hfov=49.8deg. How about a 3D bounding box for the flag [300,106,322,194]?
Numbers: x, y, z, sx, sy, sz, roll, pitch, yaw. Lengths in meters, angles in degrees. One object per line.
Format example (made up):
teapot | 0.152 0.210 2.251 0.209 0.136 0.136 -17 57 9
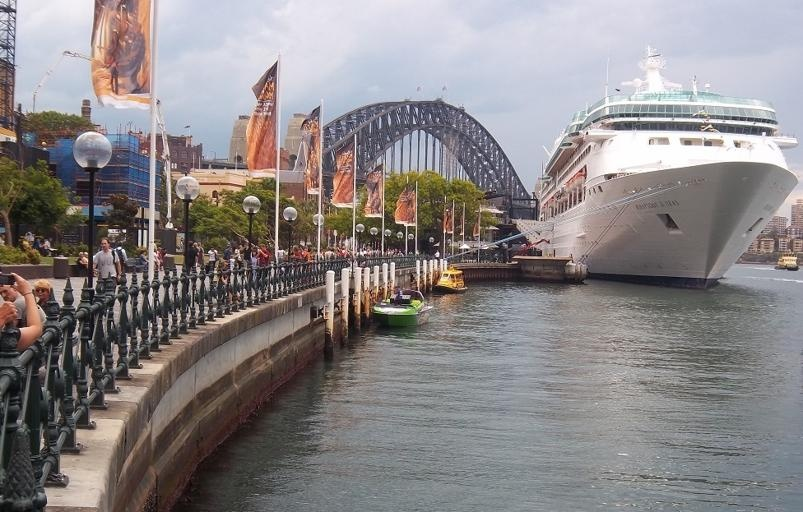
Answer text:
flag | -4.815 -5.810 46.808 1.027 4.737 2.126 2 6 -5

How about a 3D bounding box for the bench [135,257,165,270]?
bench | -12.187 0.352 41.881 1.382 0.384 0.815 3 -1 3

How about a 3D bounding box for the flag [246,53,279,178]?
flag | -6.142 -6.440 38.952 1.296 5.043 4.164 2 6 -8

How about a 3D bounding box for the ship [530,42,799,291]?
ship | 29.863 -6.676 88.373 17.304 20.645 51.278 1 -3 3

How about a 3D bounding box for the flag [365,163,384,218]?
flag | -1.955 -5.036 65.900 1.267 3.853 1.936 2 6 -6

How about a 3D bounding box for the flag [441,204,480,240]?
flag | 8.595 -5.247 125.753 5.810 4.518 0.276 8 17 15
